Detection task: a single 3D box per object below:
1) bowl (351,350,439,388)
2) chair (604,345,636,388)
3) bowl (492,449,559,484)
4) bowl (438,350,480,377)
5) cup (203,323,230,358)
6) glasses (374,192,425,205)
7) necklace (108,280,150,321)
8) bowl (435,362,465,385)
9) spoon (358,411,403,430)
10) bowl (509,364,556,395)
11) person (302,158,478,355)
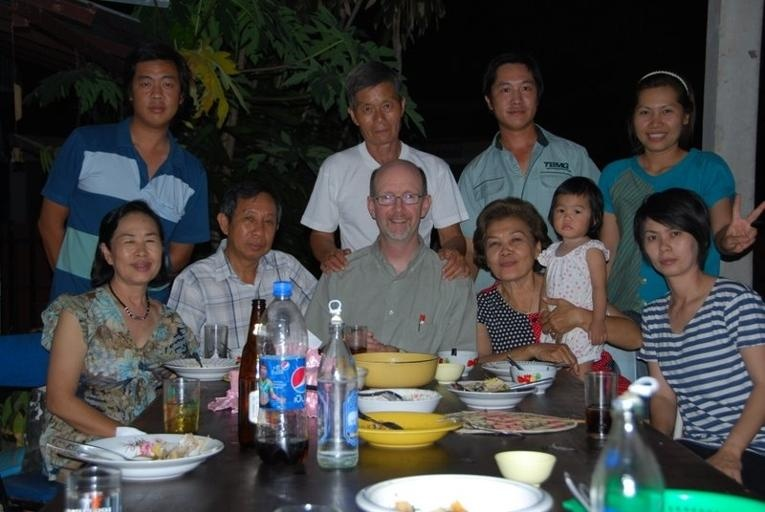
[{"bbox_3d":[0.044,0.535,2.918,0.386,0.130,0.382,-1,-1,0],"label":"bowl"},{"bbox_3d":[1.541,0.707,4.087,0.179,0.179,0.174,1,-1,-6],"label":"chair"},{"bbox_3d":[0.445,0.672,1.965,0.192,0.088,0.187,-1,-5,0],"label":"bowl"},{"bbox_3d":[0.391,0.535,3.207,0.149,0.085,0.144,1,1,0],"label":"bowl"},{"bbox_3d":[-0.930,0.481,3.525,0.136,0.181,0.325,1,-5,-15],"label":"cup"},{"bbox_3d":[0.087,-0.328,3.701,0.277,0.075,0.064,-1,-5,8],"label":"glasses"},{"bbox_3d":[-1.338,0.251,3.330,0.018,0.222,0.170,-35,-6,30],"label":"necklace"},{"bbox_3d":[0.325,0.562,3.030,0.117,0.067,0.115,-3,-5,0],"label":"bowl"},{"bbox_3d":[-0.010,0.598,2.254,0.214,0.029,0.052,15,-23,5],"label":"spoon"},{"bbox_3d":[0.691,0.551,2.858,0.159,0.087,0.154,-2,0,0],"label":"bowl"},{"bbox_3d":[0.045,0.012,3.808,0.994,1.135,0.318,-1,-5,11],"label":"person"}]
